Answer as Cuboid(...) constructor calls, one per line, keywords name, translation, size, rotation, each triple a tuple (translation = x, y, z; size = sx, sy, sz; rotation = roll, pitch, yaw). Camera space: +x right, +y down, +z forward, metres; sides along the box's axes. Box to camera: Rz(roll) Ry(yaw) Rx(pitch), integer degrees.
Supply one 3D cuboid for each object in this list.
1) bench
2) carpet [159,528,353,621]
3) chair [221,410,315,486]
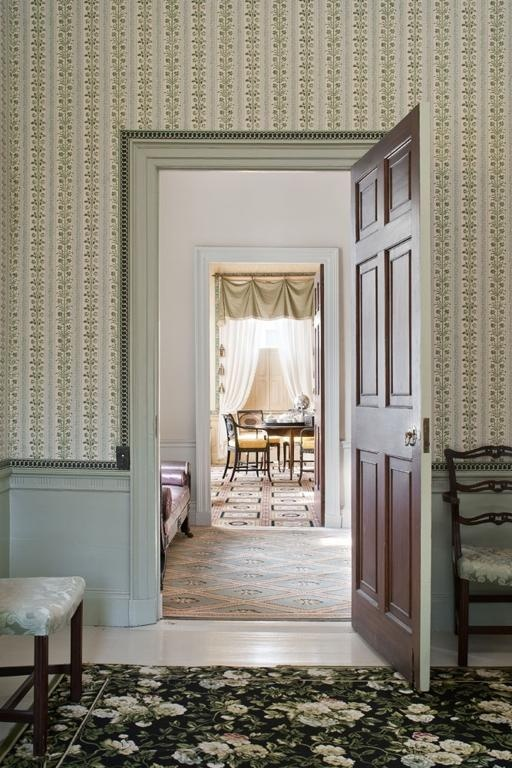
Cuboid(name="bench", translation=(-0.569, 0.998, 4.726), size=(0.253, 0.554, 0.827), rotation=(-1, 0, -4))
Cuboid(name="carpet", translation=(-0.014, 1.260, 4.547), size=(1.325, 0.028, 2.273), rotation=(0, -1, 6))
Cuboid(name="chair", translation=(0.084, 0.832, 8.846), size=(1.041, 0.863, 0.834), rotation=(-1, 2, -17))
